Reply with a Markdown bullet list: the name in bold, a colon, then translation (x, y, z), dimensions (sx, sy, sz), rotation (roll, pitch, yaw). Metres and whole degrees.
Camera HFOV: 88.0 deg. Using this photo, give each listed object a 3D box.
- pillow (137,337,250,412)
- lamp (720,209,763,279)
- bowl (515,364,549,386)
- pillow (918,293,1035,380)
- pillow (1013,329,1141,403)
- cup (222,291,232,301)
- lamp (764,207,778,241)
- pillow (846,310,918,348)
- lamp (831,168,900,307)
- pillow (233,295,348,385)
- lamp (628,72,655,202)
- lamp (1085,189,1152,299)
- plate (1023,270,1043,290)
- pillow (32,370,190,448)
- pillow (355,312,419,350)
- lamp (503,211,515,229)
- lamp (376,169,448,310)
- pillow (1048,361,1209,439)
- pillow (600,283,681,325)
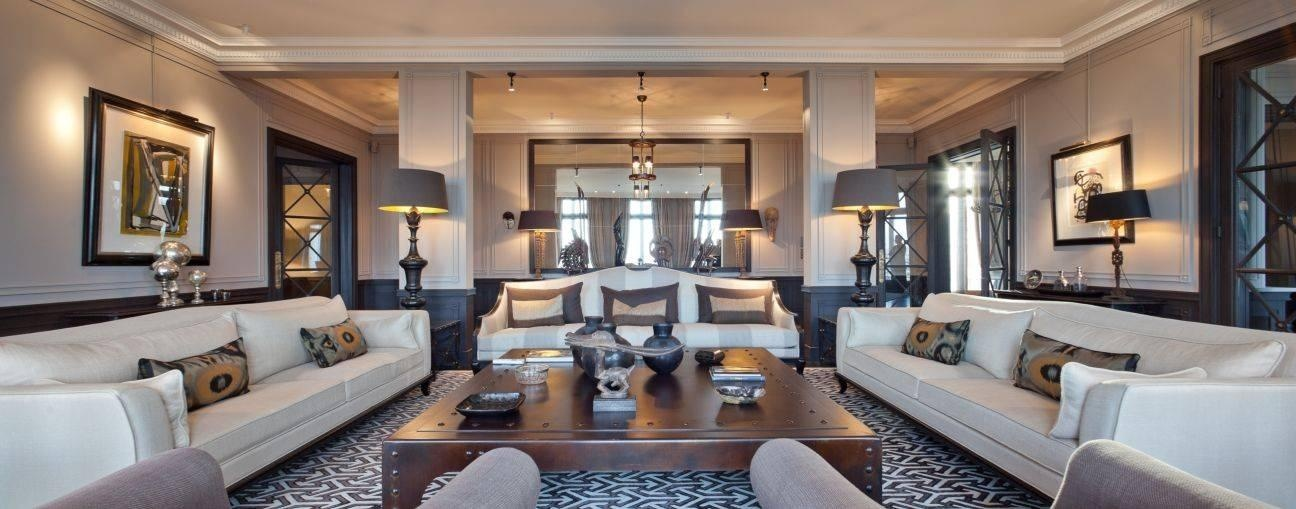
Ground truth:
- **pillow**: translation (-5.584, 1.499, 8.176), dimensions (1.090, 0.616, 0.320), rotation (-6, -26, -50)
- **lamp**: translation (1.796, -0.257, 12.687), dimensions (0.909, 0.943, 0.754), rotation (-1, -5, 8)
- **bowl**: translation (-1.465, 1.527, 8.468), dimensions (0.364, 0.108, 0.285), rotation (-2, 2, 3)
- **pillow**: translation (4.367, 1.136, 8.903), dimensions (0.388, 0.650, 1.200), rotation (30, -11, -34)
- **pillow**: translation (5.259, 1.386, 8.151), dimensions (0.340, 0.575, 1.041), rotation (33, -15, -30)
- **cup**: translation (-6.543, 0.642, 10.444), dimensions (0.178, 0.105, 0.145), rotation (2, -1, -22)
- **lamp**: translation (2.375, -0.581, 12.820), dimensions (0.273, 0.663, 0.102), rotation (-2, 0, -5)
- **pillow**: translation (3.292, 1.045, 9.558), dimensions (0.822, 0.271, 0.643), rotation (-1, 25, 11)
- **lamp**: translation (3.393, -0.275, 10.456), dimensions (0.941, 2.151, 0.706), rotation (-2, 0, 13)
- **pillow**: translation (-4.739, 1.189, 8.906), dimensions (0.402, 0.662, 1.235), rotation (-24, -9, 30)
- **lamp**: translation (-0.124, -2.035, 12.151), dimensions (0.536, 2.202, 1.443), rotation (-2, 0, 0)
- **lamp**: translation (7.040, -0.165, 10.033), dimensions (0.875, 1.688, 0.447), rotation (-2, 0, 16)
- **plate**: translation (6.168, 0.400, 10.741), dimensions (0.242, 0.335, 0.387), rotation (-2, -1, 27)
- **pillow**: translation (-6.187, 1.813, 7.694), dimensions (1.207, 0.566, 0.220), rotation (-5, -12, -16)
- **pillow**: translation (-3.721, 1.152, 9.709), dimensions (1.201, 0.481, 0.351), rotation (-9, 2, 29)
- **lamp**: translation (-2.646, -0.670, 12.712), dimensions (0.296, 0.286, 0.080), rotation (5, 3, -1)
- **lamp**: translation (-3.575, -0.254, 10.400), dimensions (0.969, 2.080, 0.644), rotation (-2, 0, -13)
- **pillow**: translation (5.427, 1.716, 7.790), dimensions (1.452, 0.949, 0.246), rotation (-2, 0, 2)
- **pillow**: translation (-0.103, 0.797, 10.429), dimensions (0.941, 0.431, 0.205), rotation (1, -37, 1)
